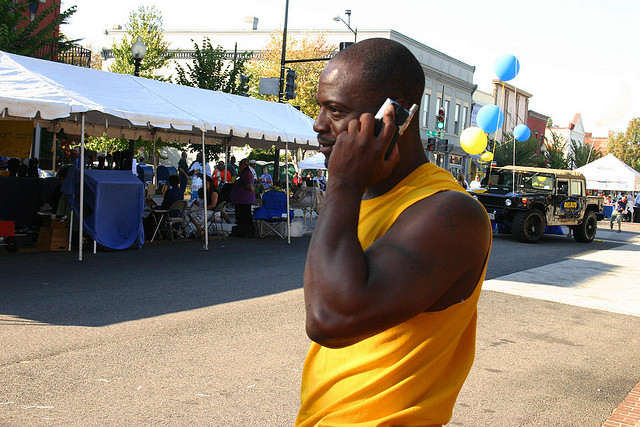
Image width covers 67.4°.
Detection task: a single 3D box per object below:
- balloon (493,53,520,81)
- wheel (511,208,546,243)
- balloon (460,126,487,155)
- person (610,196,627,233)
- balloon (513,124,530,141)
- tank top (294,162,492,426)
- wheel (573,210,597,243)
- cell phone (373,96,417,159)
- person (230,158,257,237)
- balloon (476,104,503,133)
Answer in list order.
[{"bbox_3d":[5.860,-4.598,15.172,0.572,0.692,0.478,5,5,26],"label":"balloon"},{"bbox_3d":[7.315,0.404,16.724,1.109,1.291,0.465,-11,13,-16],"label":"wheel"},{"bbox_3d":[5.624,-2.676,17.470,0.891,0.919,0.781,4,5,19],"label":"balloon"},{"bbox_3d":[15.665,0.063,25.148,0.575,1.727,1.964,5,5,32],"label":"person"},{"bbox_3d":[8.267,-3.264,19.566,0.624,0.864,0.683,-2,-2,1],"label":"balloon"},{"bbox_3d":[0.279,0.342,1.927,0.720,1.103,0.307,3,4,11],"label":"tank top"},{"bbox_3d":[10.247,0.479,18.561,1.338,1.248,0.432,-1,5,-37],"label":"wheel"},{"bbox_3d":[0.255,-0.304,1.712,0.125,0.199,0.048,25,4,-6],"label":"cell phone"},{"bbox_3d":[-2.437,-0.518,15.171,0.746,2.380,0.875,1,4,-9],"label":"person"},{"bbox_3d":[6.315,-3.521,17.466,0.816,1.070,0.843,17,19,33],"label":"balloon"}]
